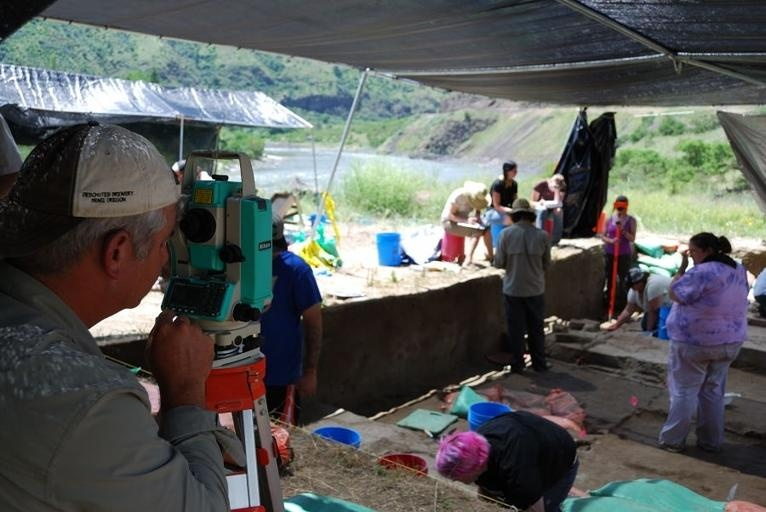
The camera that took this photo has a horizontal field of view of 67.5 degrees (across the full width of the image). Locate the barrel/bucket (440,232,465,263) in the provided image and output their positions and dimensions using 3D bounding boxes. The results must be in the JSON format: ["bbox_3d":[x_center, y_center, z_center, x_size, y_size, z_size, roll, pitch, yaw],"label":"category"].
[{"bbox_3d":[1.118,-0.137,9.675,0.474,0.523,0.458,0,-6,0],"label":"barrel/bucket"}]

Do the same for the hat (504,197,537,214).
[{"bbox_3d":[2.037,-0.757,8.601,0.557,0.272,0.661,-1,1,22],"label":"hat"}]

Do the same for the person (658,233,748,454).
[{"bbox_3d":[3.238,0.910,5.788,0.740,2.297,0.399,-2,10,-12],"label":"person"}]

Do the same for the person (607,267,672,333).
[{"bbox_3d":[4.247,0.710,9.451,1.189,0.928,0.563,-20,20,-19],"label":"person"}]

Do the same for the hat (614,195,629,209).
[{"bbox_3d":[4.408,-1.021,10.578,0.222,0.248,0.293,1,-6,28],"label":"hat"}]

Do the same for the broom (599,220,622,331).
[{"bbox_3d":[4.504,0.218,11.087,0.155,1.969,0.166,19,-17,-21],"label":"broom"}]

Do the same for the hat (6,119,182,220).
[{"bbox_3d":[-0.862,-0.264,1.741,0.413,0.157,0.286,-1,7,-4],"label":"hat"}]

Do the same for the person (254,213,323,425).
[{"bbox_3d":[-0.704,0.527,4.314,0.279,1.371,0.432,7,12,39],"label":"person"}]

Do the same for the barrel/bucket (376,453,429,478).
[{"bbox_3d":[0.166,1.346,3.769,0.238,0.091,0.231,0,-1,0],"label":"barrel/bucket"}]

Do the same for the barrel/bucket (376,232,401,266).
[{"bbox_3d":[0.090,-0.109,9.212,0.367,0.531,0.191,-1,9,-4],"label":"barrel/bucket"}]

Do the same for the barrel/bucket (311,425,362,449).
[{"bbox_3d":[-0.348,1.335,4.253,0.289,0.121,0.293,1,2,0],"label":"barrel/bucket"}]

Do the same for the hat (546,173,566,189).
[{"bbox_3d":[3.351,-1.406,11.097,0.322,0.348,0.258,28,38,29],"label":"hat"}]
